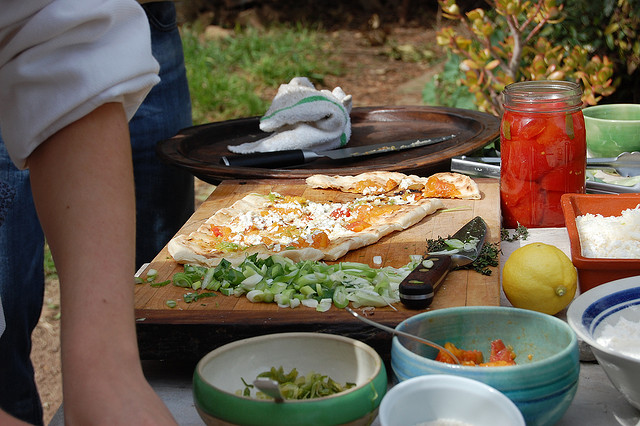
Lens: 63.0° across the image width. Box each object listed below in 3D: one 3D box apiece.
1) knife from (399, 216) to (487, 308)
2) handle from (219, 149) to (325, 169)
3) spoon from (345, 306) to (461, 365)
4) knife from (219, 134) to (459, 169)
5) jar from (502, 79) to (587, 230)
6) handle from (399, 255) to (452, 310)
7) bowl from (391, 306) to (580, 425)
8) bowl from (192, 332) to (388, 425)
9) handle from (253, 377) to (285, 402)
[{"bbox_3d":[0.331,0.087,1.318,0.108,0.060,0.462,1,19,27],"label":"knife"},{"bbox_3d":[-0.176,-0.205,2.000,0.499,0.065,0.078,-2,12,-19],"label":"handle"},{"bbox_3d":[0.158,0.237,0.997,0.321,0.024,0.044,20,44,-3],"label":"spoon"},{"bbox_3d":[0.086,-0.233,2.015,0.896,0.066,0.122,-3,27,-6],"label":"knife"},{"bbox_3d":[0.654,-0.162,1.534,0.221,0.437,0.103,0,19,17],"label":"jar"},{"bbox_3d":[0.231,0.158,1.172,0.058,0.054,0.210,6,21,21],"label":"handle"},{"bbox_3d":[0.297,0.191,0.940,0.272,0.130,0.253,-2,12,0],"label":"bowl"},{"bbox_3d":[-0.058,0.287,0.889,0.235,0.093,0.218,0,8,0],"label":"bowl"},{"bbox_3d":[-0.076,0.270,0.798,0.023,0.078,0.013,-8,58,21],"label":"handle"}]
